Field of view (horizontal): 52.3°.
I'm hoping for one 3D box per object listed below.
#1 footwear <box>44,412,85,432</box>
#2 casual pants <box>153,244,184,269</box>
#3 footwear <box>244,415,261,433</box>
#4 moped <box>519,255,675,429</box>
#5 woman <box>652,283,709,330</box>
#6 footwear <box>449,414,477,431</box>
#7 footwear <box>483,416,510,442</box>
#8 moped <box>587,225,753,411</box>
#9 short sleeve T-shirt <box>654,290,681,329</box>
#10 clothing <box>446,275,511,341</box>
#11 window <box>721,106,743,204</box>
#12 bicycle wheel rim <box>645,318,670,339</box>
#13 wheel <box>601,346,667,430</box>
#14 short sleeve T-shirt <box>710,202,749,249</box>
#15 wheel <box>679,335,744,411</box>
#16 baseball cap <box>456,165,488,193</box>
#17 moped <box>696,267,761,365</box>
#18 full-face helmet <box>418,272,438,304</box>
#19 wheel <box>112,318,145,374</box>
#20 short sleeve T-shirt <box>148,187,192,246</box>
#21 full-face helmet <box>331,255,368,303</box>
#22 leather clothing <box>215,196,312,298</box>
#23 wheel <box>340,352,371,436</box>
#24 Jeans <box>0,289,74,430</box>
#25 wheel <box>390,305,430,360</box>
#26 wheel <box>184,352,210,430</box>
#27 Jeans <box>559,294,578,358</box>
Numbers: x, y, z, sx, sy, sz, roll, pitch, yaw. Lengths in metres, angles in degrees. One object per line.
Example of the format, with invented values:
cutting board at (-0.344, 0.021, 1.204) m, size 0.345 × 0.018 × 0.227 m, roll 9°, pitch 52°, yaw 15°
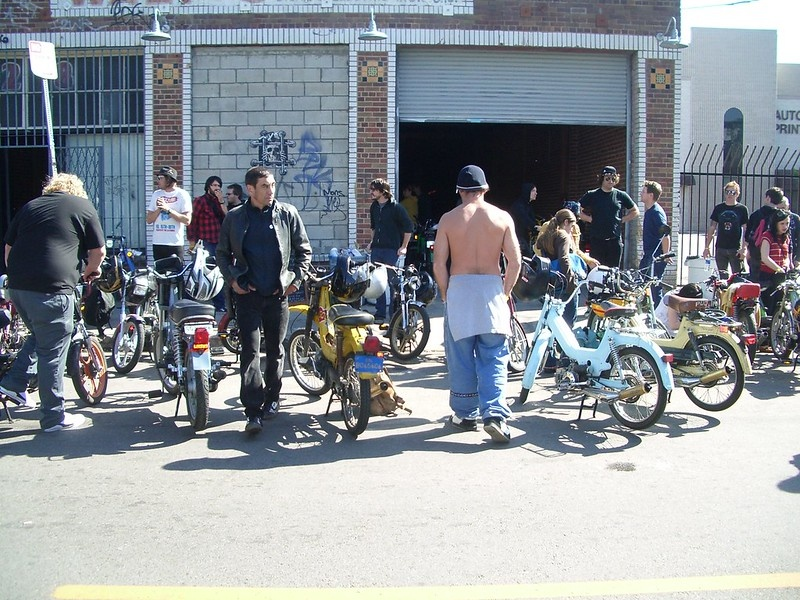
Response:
footwear at (-3.335, 1.234, 8.176) m, size 0.383 × 0.175 × 0.133 m, roll -16°, pitch 28°, yaw -38°
casual pants at (-3.180, -0.599, 11.137) m, size 0.308 × 0.504 × 0.273 m, roll 2°, pitch 12°, yaw 4°
footwear at (-1.443, 1.234, 8.048) m, size 0.173 × 0.171 × 0.160 m, roll -5°, pitch 12°, yaw -23°
moped at (1.904, 0.472, 8.717) m, size 1.289 × 1.601 × 2.203 m, roll 6°, pitch -1°, yaw -41°
woman at (3.209, 0.122, 9.174) m, size 0.417 × 0.480 × 0.716 m, roll -3°, pitch 9°, yaw -9°
footwear at (0.635, 1.235, 8.216) m, size 0.108 × 0.162 × 0.341 m, roll -3°, pitch 15°, yaw -21°
footwear at (0.939, 1.258, 7.796) m, size 0.131 × 0.178 × 0.358 m, roll -6°, pitch -32°, yaw 29°
moped at (3.037, 0.324, 9.227) m, size 1.171 × 1.580 × 2.179 m, roll -7°, pitch 10°, yaw -32°
short sleeve T-shirt at (3.182, 0.127, 9.666) m, size 0.166 × 0.344 × 0.335 m, roll 3°, pitch 23°, yaw -8°
clothing at (0.760, 0.032, 8.143) m, size 0.800 × 0.953 × 0.522 m, roll -1°, pitch 3°, yaw 6°
window at (15.624, -6.790, 38.145) m, size 1.076 × 5.767 × 0.130 m, roll 8°, pitch 46°, yaw 30°
bicycle wheel rim at (2.953, 0.341, 9.386) m, size 0.084 × 0.278 × 0.264 m, roll -20°, pitch -14°, yaw -16°
wheel at (2.340, 0.861, 8.142) m, size 0.183 × 0.794 × 0.623 m, roll -2°, pitch 11°, yaw -40°
short sleeve T-shirt at (5.472, -1.262, 13.505) m, size 0.551 × 0.799 × 0.283 m, roll 8°, pitch 31°, yaw 30°
wheel at (3.316, 0.701, 8.736) m, size 0.797 × 0.995 × 0.259 m, roll 3°, pitch -31°, yaw 30°
baseball cap at (0.738, -1.212, 8.241) m, size 0.220 × 0.196 × 0.347 m, roll 1°, pitch 16°, yaw 10°
moped at (4.485, 0.231, 10.725) m, size 0.800 × 1.077 × 1.527 m, roll -1°, pitch 6°, yaw 5°
full-face helmet at (0.368, -0.118, 11.014) m, size 0.269 × 0.383 × 0.332 m, roll -5°, pitch 31°, yaw 3°
wheel at (-3.357, 0.556, 10.093) m, size 0.610 × 0.750 × 0.237 m, roll 10°, pitch 15°, yaw 42°
short sleeve T-shirt at (-3.429, -1.236, 12.174) m, size 0.787 × 1.099 × 0.362 m, roll 6°, pitch 11°, yaw 6°
full-face helmet at (-0.548, -0.240, 8.665) m, size 0.320 × 0.469 × 0.475 m, roll 3°, pitch -3°, yaw 18°
leather clothing at (-1.399, -0.547, 8.302) m, size 0.860 × 1.009 × 0.540 m, roll -1°, pitch 14°, yaw -10°
wheel at (-0.430, 0.920, 7.997) m, size 0.130 × 0.809 × 0.719 m, roll 0°, pitch 2°, yaw -21°
Jeans at (-3.610, 0.536, 8.168) m, size 0.640 × 1.335 × 0.411 m, roll 5°, pitch 12°, yaw 26°
wheel at (0.111, 0.414, 10.826) m, size 0.144 × 0.524 × 0.462 m, roll 3°, pitch -37°, yaw -48°
wheel at (-1.989, 0.879, 7.984) m, size 0.180 × 0.721 × 0.642 m, roll -1°, pitch -6°, yaw -18°
Jeans at (1.891, 0.296, 9.122) m, size 0.119 × 0.648 × 0.171 m, roll 16°, pitch 0°, yaw -17°
